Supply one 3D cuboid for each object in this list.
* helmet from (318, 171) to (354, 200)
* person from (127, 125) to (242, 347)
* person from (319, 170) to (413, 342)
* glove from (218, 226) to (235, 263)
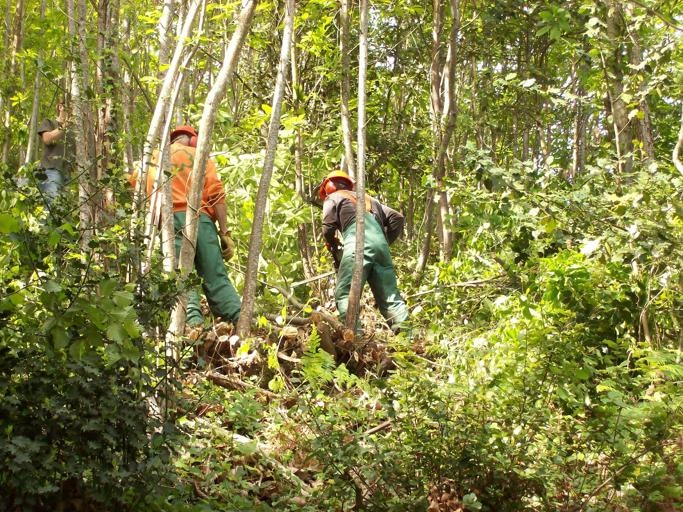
[{"bbox_3d":[-0.068,-0.737,8.008,0.250,0.231,0.346,-1,-31,-3],"label":"helmet"},{"bbox_3d":[-1.430,-0.245,6.861,0.902,2.093,0.627,-7,-20,-8],"label":"person"},{"bbox_3d":[0.244,-0.038,7.933,0.789,2.015,0.650,-5,-24,-7],"label":"person"},{"bbox_3d":[-1.038,-0.114,7.012,0.130,0.226,0.172,-5,18,0],"label":"glove"}]
